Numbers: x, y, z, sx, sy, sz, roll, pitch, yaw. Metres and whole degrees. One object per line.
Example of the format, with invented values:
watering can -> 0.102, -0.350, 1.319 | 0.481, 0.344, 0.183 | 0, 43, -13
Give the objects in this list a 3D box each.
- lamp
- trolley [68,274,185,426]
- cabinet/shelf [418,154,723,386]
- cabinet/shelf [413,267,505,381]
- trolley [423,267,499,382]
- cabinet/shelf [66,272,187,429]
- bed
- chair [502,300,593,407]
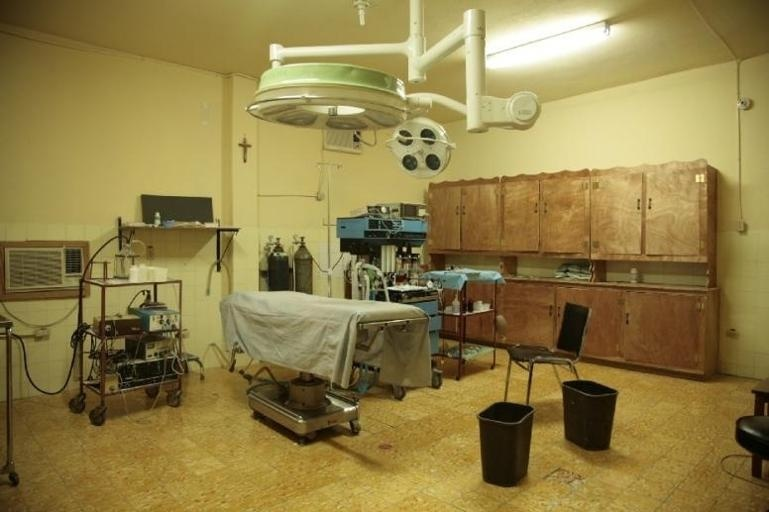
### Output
lamp -> 0.193, -1.056, 4.459 | 2.164, 1.443, 1.182 | 3, -2, -1
trolley -> -2.806, 0.988, 6.455 | 1.207, 1.368, 0.822 | -1, 3, -41
cabinet/shelf -> 2.580, 0.233, 7.589 | 3.229, 2.059, 0.642 | -1, -5, 38
cabinet/shelf -> 1.028, 0.885, 7.678 | 0.914, 1.319, 1.012 | -4, -2, -32
trolley -> 0.993, 0.884, 7.727 | 0.983, 1.357, 1.117 | -2, 1, -41
cabinet/shelf -> -2.850, 0.987, 6.474 | 0.825, 1.448, 1.177 | 2, 3, 42
bed -> -0.755, 1.134, 6.170 | 2.157, 1.287, 1.169 | 1, -3, 38
chair -> 1.775, 1.095, 6.349 | 0.785, 1.084, 0.670 | 0, 4, -5
